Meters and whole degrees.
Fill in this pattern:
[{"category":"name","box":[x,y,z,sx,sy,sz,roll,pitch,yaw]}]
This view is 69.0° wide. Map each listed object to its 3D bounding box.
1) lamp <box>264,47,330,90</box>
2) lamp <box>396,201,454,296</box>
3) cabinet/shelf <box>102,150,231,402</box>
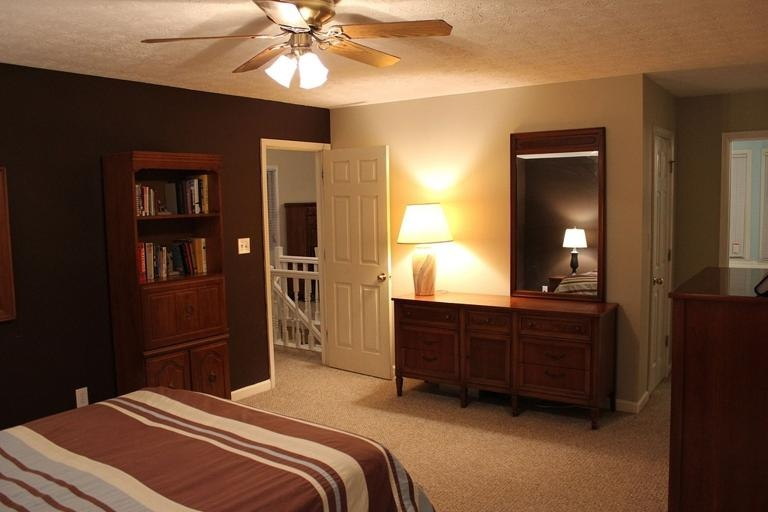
[{"category":"lamp","box":[-0.502,-1.125,3.484,0.367,0.111,0.347,0,-3,3]},{"category":"lamp","box":[0.467,-0.079,5.811,0.443,0.921,0.522,7,15,37]},{"category":"cabinet/shelf","box":[-1.889,0.215,4.967,1.073,2.254,0.690,-13,16,-43]}]
